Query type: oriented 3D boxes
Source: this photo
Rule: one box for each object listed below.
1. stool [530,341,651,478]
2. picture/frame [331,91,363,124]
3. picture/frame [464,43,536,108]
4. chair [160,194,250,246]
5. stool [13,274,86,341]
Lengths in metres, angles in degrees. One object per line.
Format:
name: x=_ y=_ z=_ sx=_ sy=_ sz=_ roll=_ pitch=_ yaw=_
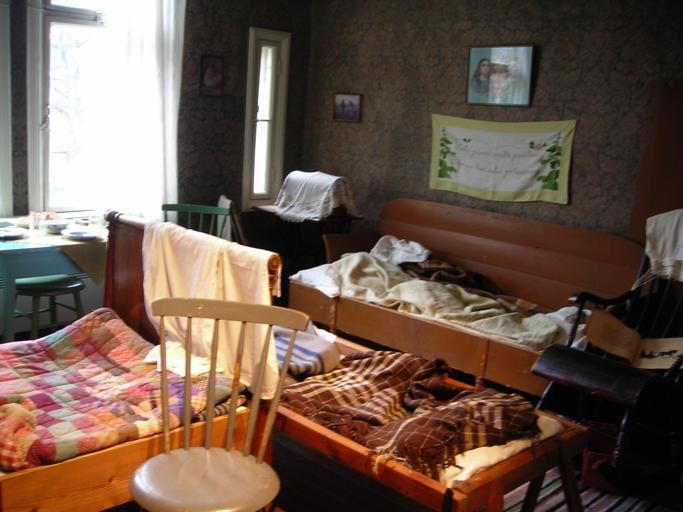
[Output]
stool: x=1.168 y=0.630 z=2.508 sx=0.377 sy=0.313 sz=0.290 roll=19 pitch=26 yaw=24
picture/frame: x=0.060 y=-1.390 z=5.004 sx=0.325 sy=0.264 sz=0.035 roll=13 pitch=18 yaw=35
picture/frame: x=1.238 y=-1.379 z=4.079 sx=0.547 sy=0.444 sz=0.055 roll=13 pitch=13 yaw=35
chair: x=-1.041 y=-0.282 z=4.275 sx=0.545 sy=0.676 sz=0.484 roll=2 pitch=9 yaw=-2
stool: x=-1.861 y=0.360 z=3.302 sx=0.276 sy=0.284 sz=0.288 roll=-20 pitch=-8 yaw=39
